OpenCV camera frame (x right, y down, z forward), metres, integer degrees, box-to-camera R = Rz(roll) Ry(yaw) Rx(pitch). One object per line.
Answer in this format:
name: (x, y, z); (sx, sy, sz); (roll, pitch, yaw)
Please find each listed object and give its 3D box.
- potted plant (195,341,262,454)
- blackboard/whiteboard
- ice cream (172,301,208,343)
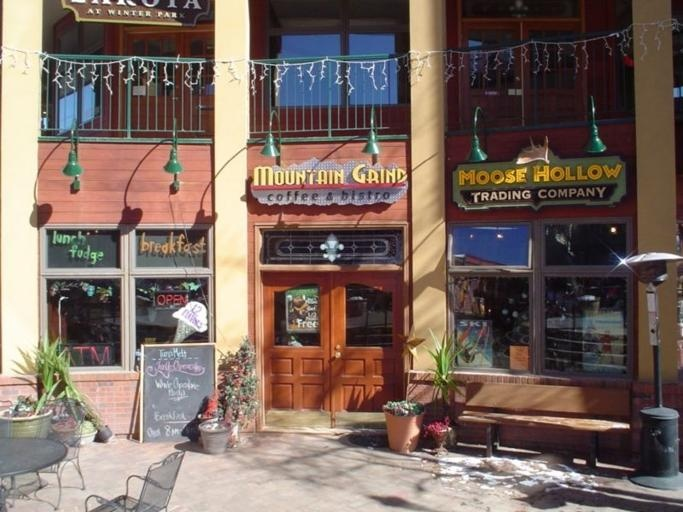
potted plant: (-1.984, 2.412, 15.422); (1.142, 1.882, 0.727); (2, -5, -44)
blackboard/whiteboard: (-2.887, 2.461, 15.487); (1.498, 2.057, 0.067); (1, -10, -9)
ice cream: (-2.728, 1.183, 15.843); (0.467, 0.523, 0.327); (43, -5, -5)
